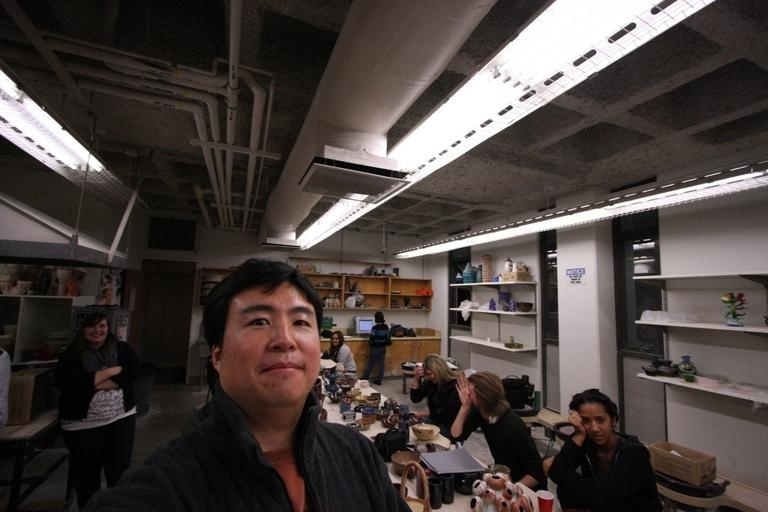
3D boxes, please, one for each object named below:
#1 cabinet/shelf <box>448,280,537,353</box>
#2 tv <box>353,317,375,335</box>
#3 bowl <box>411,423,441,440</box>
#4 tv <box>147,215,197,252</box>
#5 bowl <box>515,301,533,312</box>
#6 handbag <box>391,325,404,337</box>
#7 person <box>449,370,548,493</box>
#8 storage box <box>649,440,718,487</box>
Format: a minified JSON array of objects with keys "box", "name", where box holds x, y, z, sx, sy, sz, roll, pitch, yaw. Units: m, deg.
[{"box":[2.019,0.949,7.925,1.666,0.817,0.416,5,-17,-33],"name":"cabinet/shelf"},{"box":[-0.434,1.427,9.490,0.554,0.469,0.317,3,-16,-13],"name":"tv"},{"box":[0.377,1.655,4.400,0.249,0.126,0.209,1,-9,7],"name":"bowl"},{"box":[-3.866,-0.403,8.481,0.744,0.548,0.101,2,-7,-20],"name":"tv"},{"box":[2.165,0.808,7.350,0.282,0.156,0.167,-4,-10,34],"name":"bowl"},{"box":[0.267,1.529,9.606,0.247,0.221,0.211,5,-48,-5],"name":"handbag"},{"box":[1.034,1.587,4.385,0.854,0.961,0.240,-4,-11,37],"name":"person"},{"box":[2.752,1.943,4.489,0.380,0.246,0.619,3,-10,-17],"name":"storage box"}]
